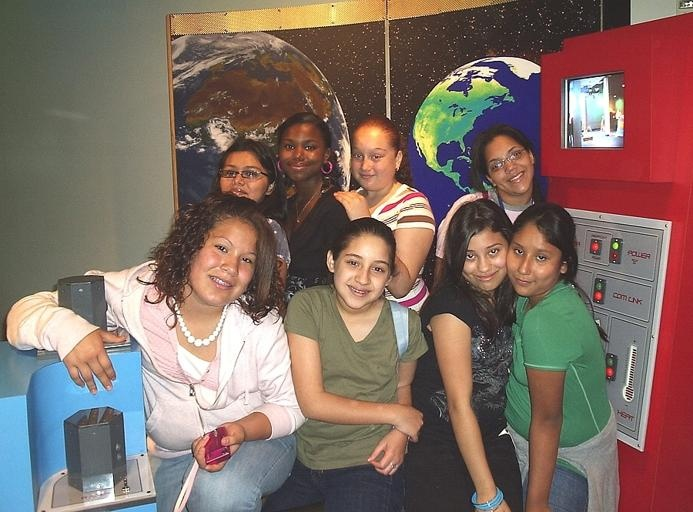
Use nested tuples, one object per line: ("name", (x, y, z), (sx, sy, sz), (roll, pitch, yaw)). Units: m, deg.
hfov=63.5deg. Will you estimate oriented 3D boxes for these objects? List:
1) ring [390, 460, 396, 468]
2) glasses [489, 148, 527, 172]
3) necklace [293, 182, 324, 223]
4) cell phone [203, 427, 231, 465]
("ring", (0.176, 0.806, 2.164), (0.022, 0.016, 0.009), (13, 1, 6))
("glasses", (0.907, -0.541, 3.186), (0.201, 0.122, 0.052), (0, 7, 18))
("necklace", (-0.221, -0.301, 3.452), (0.097, 0.297, 0.041), (32, 0, 28))
("cell phone", (-0.460, 0.686, 2.045), (0.097, 0.101, 0.063), (-21, -23, -14))
